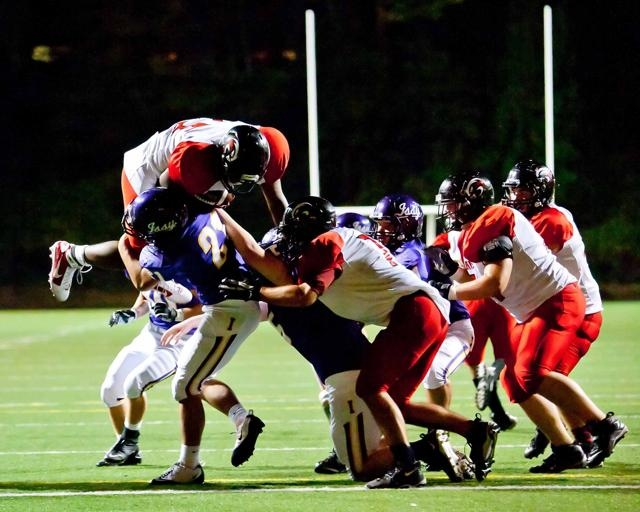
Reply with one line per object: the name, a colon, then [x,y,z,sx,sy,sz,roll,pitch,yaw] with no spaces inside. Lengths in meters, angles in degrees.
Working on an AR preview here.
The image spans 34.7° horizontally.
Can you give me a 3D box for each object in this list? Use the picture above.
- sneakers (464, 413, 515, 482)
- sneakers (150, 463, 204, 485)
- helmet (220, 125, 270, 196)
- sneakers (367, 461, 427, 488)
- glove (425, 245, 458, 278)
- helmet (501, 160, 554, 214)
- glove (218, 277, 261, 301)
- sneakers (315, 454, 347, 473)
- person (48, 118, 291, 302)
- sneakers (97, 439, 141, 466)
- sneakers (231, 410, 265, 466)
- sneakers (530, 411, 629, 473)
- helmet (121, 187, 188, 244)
sneakers: [1.045,1.188,6.587,0.253,0.452,0.159,4,23,14]
sneakers: [-0.968,1.428,6.725,0.406,0.147,0.130,3,-7,-4]
helmet: [-0.516,-0.661,6.878,0.324,0.474,0.201,1,2,-7]
sneakers: [0.490,1.387,6.528,0.428,0.176,0.141,-2,1,4]
glove: [0.834,0.036,7.170,0.081,0.226,0.166,-43,-12,-22]
helmet: [1.457,-0.519,7.565,0.435,0.343,0.333,-17,13,-25]
glove: [-0.516,0.211,6.503,0.236,0.079,0.136,14,-35,-7]
sneakers: [0.065,1.416,6.991,0.269,0.112,0.092,3,-4,-9]
person: [-1.220,-0.389,7.474,2.010,0.942,1.095,-9,9,25]
sneakers: [-1.387,1.412,7.222,0.386,0.167,0.131,4,-10,-15]
sneakers: [-0.479,1.172,6.639,0.198,0.361,0.156,1,2,-5]
sneakers: [1.725,1.255,6.894,0.577,0.271,0.184,-28,0,-4]
helmet: [-1.069,-0.266,6.634,0.407,0.294,0.296,-16,17,20]
